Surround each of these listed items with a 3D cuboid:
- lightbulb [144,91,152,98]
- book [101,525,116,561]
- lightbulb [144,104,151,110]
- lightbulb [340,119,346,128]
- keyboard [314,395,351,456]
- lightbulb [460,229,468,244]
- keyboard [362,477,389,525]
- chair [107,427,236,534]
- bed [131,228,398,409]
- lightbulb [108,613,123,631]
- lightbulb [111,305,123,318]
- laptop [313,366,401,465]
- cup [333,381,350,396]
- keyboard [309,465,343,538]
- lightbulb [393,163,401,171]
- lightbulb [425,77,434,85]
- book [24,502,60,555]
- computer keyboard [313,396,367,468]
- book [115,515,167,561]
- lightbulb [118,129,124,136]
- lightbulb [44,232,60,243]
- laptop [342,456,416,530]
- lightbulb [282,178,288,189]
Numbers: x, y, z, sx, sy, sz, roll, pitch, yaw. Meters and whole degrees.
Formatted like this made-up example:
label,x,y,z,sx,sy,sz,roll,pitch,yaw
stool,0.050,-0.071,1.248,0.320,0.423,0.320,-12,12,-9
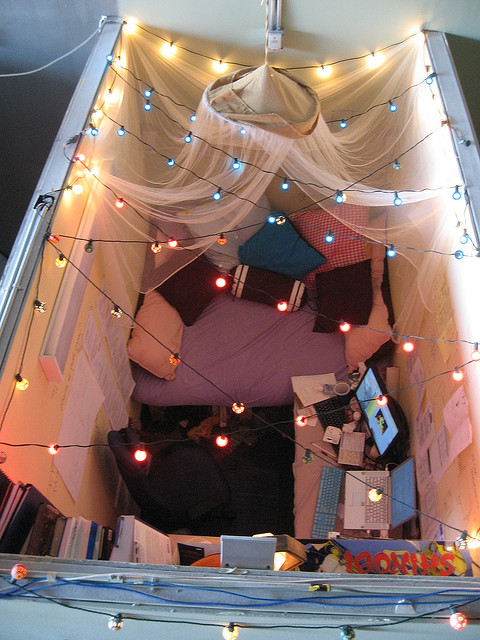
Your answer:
label,x,y,z,sx,sy,sz,roll,pitch,yaw
lightbulb,-0.544,-1.334,3.048,0.041,0.036,0.018,16,45,21
book,-0.583,0.986,2.296,0.033,0.121,0.138,4,8,-6
lightbulb,-0.527,-1.219,2.949,0.031,0.029,0.040,-11,0,-4
lightbulb,0.631,-1.199,3.151,0.035,0.044,0.012,1,4,-38
keyboard,0.601,0.624,3.298,0.228,0.022,0.506,-15,50,7
lightbulb,0.992,-0.374,2.304,0.015,0.061,0.034,14,-1,-21
keyboard,0.727,0.984,2.787,0.191,0.170,0.249,1,73,4
chair,-0.423,0.992,3.123,0.547,0.613,0.446,-21,77,-14
bed,0.183,-0.007,3.688,1.843,0.979,1.124,1,41,5
lightbulb,-0.343,0.837,1.435,0.036,0.063,0.038,-10,42,-8
lightbulb,-0.694,-0.046,2.927,0.083,0.076,0.030,4,9,26
laptop,0.679,0.559,2.963,0.349,0.326,0.472,-10,48,-8
cup,0.655,0.438,3.316,0.078,0.078,0.085,-4,62,8
keyboard,0.515,1.028,2.894,0.162,0.509,0.066,5,22,3
lightbulb,0.845,-0.827,2.772,0.040,0.019,0.053,5,48,5
lightbulb,0.988,-1.251,2.700,0.018,0.039,0.044,-15,42,-12
book,-0.709,0.781,1.915,0.033,0.130,0.128,7,73,16
computer keyboard,0.611,0.629,3.200,0.192,0.059,0.460,-22,36,0
book,-0.441,1.013,2.330,0.088,0.389,0.196,-5,60,12
lightbulb,-0.642,-1.013,2.787,0.033,0.029,0.047,-10,41,-9
lightbulb,-0.801,-0.356,2.207,0.046,0.047,0.045,11,7,-39
laptop,0.730,0.905,2.742,0.424,0.220,0.384,-12,43,8
lightbulb,0.232,-0.708,2.673,0.015,0.057,0.041,-2,3,-13
